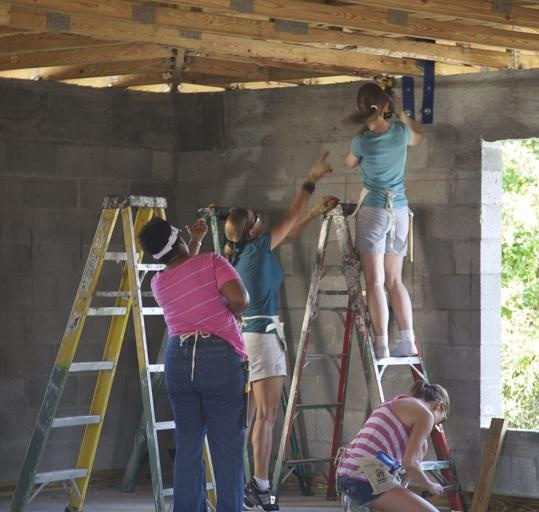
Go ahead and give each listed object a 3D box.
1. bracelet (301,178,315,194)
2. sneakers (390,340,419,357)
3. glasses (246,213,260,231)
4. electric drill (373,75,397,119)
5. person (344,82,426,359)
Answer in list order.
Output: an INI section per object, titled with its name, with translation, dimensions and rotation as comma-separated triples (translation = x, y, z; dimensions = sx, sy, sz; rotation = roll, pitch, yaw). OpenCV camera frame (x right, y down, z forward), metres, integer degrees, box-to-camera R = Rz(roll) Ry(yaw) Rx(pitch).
[bracelet]
translation = 0.264, -0.471, 7.458
dimensions = 0.079, 0.063, 0.084
rotation = 23, -24, 15
[sneakers]
translation = 0.879, 0.602, 7.067
dimensions = 0.232, 0.110, 0.083
rotation = -1, 0, 29
[glasses]
translation = -0.108, -0.230, 7.380
dimensions = 0.085, 0.123, 0.056
rotation = 9, 18, 31
[electric drill]
translation = 0.817, -1.105, 7.488
dimensions = 0.110, 0.306, 0.225
rotation = -1, -21, 13
[person]
translation = 0.744, -0.226, 7.007
dimensions = 0.469, 1.743, 0.300
rotation = 1, -1, 4
